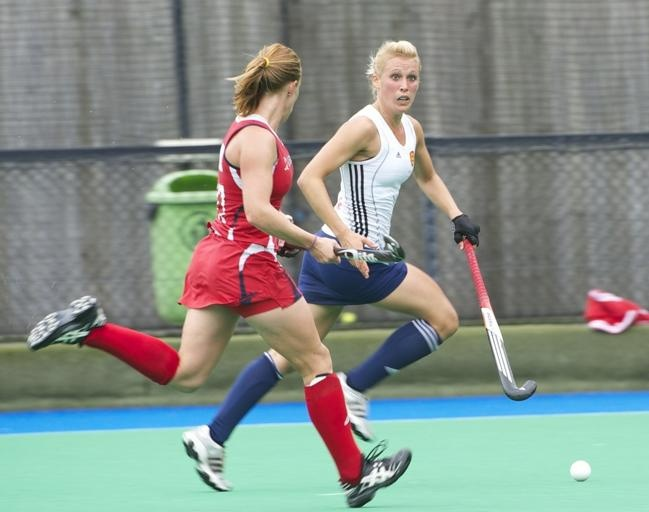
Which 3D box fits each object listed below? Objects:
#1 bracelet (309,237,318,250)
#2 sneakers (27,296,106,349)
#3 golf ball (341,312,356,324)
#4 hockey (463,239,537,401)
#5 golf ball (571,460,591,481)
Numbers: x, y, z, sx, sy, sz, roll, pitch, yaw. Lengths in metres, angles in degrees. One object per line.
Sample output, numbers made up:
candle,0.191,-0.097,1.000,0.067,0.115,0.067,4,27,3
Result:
bracelet,-0.056,-0.062,6.740,0.048,0.066,0.026,1,5,13
sneakers,-1.382,0.371,6.900,0.419,0.204,0.215,-32,40,7
golf ball,0.183,0.463,9.347,0.093,0.048,0.089,-2,3,0
hockey,1.262,0.472,8.856,0.243,0.073,1.443,-4,38,-5
golf ball,1.473,1.236,7.256,0.112,0.105,0.103,7,-11,1
